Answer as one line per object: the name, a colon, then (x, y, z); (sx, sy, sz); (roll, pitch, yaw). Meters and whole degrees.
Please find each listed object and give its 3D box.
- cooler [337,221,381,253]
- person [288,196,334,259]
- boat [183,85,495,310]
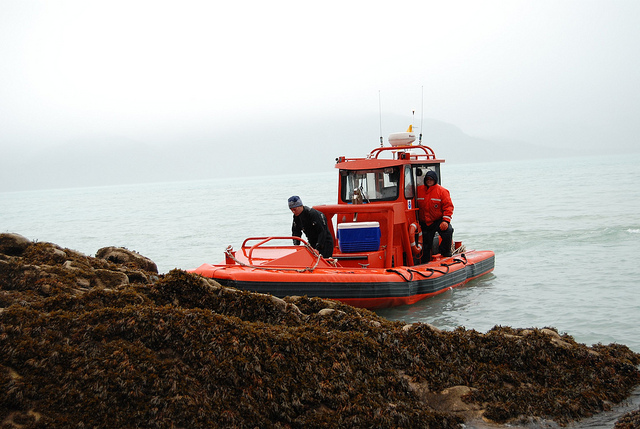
cooler: (0.831, 0.460, 11.536); (0.804, 0.406, 0.709); (-1, 1, 3)
person: (-0.154, 0.246, 11.033); (1.067, 1.125, 0.637); (11, 7, 1)
boat: (0.878, 0.067, 11.454); (9.108, 3.378, 4.304); (-2, 1, -39)
